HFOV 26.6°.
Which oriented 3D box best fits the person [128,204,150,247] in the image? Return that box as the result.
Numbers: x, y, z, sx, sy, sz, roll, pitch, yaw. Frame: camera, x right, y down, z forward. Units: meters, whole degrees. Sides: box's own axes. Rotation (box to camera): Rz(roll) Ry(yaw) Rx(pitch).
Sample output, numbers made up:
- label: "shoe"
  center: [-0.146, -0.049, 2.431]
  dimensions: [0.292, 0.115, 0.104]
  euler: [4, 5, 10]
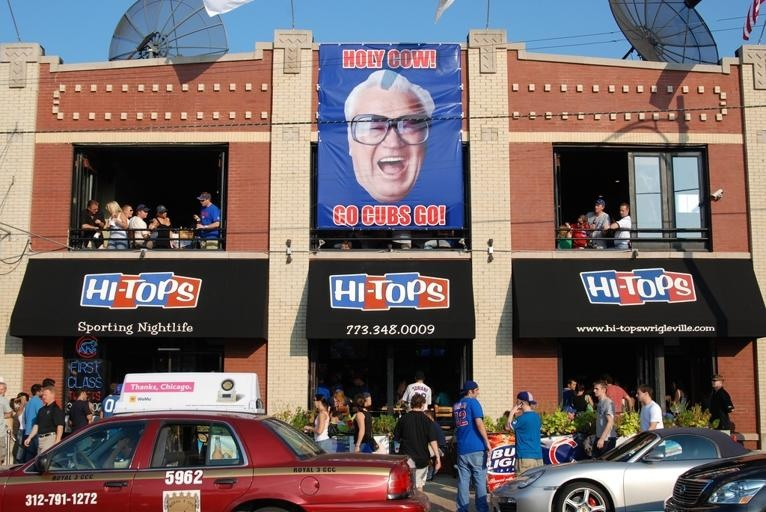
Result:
- label: "person"
  center: [-7.037, -0.825, 46.928]
  dimensions: [0.604, 1.481, 1.036]
  euler: [1, -14, -8]

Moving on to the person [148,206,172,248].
- label: "person"
  center: [-6.451, -0.770, 46.924]
  dimensions: [0.605, 1.447, 1.061]
  euler: [1, -14, -8]

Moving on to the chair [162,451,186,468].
- label: "chair"
  center: [-4.769, 4.692, 37.086]
  dimensions: [0.565, 0.469, 0.321]
  euler: [3, -17, -9]

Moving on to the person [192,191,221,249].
- label: "person"
  center: [-5.031, -0.965, 46.684]
  dimensions: [0.750, 1.762, 1.051]
  euler: [0, -14, -7]

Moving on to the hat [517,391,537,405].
- label: "hat"
  center: [3.649, 3.622, 40.638]
  dimensions: [0.558, 0.306, 0.337]
  euler: [8, 11, -22]

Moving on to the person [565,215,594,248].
- label: "person"
  center: [5.711, -0.654, 46.910]
  dimensions: [0.937, 1.286, 0.605]
  euler: [4, -16, -2]

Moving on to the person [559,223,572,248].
- label: "person"
  center: [5.234, -0.534, 46.638]
  dimensions: [0.421, 0.939, 0.851]
  euler: [-3, -14, 6]

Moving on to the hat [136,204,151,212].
- label: "hat"
  center: [-6.820, -1.373, 46.841]
  dimensions: [0.502, 0.176, 0.317]
  euler: [-1, 0, -22]

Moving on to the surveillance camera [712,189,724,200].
- label: "surveillance camera"
  center: [9.587, -1.762, 46.412]
  dimensions: [0.369, 0.332, 0.319]
  euler: [-2, -14, 4]

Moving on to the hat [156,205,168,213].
- label: "hat"
  center: [-6.631, -1.395, 48.518]
  dimensions: [0.297, 0.218, 0.470]
  euler: [-20, 1, -19]

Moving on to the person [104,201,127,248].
- label: "person"
  center: [-7.647, -0.847, 46.586]
  dimensions: [0.647, 1.518, 0.597]
  euler: [1, -14, -10]

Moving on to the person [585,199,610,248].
- label: "person"
  center: [6.225, -0.862, 46.712]
  dimensions: [0.611, 1.523, 0.811]
  euler: [-3, -14, 7]

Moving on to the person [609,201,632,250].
- label: "person"
  center: [6.821, -0.818, 46.525]
  dimensions: [0.636, 1.426, 0.741]
  euler: [-3, -14, 8]

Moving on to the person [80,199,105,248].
- label: "person"
  center: [-8.369, -0.887, 46.678]
  dimensions: [0.701, 1.472, 0.978]
  euler: [1, -14, -10]

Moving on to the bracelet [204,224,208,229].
- label: "bracelet"
  center: [-5.059, -0.817, 46.254]
  dimensions: [0.127, 0.126, 0.156]
  euler: [0, -14, -7]

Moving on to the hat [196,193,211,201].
- label: "hat"
  center: [-5.156, -1.678, 46.567]
  dimensions: [0.376, 0.189, 0.250]
  euler: [9, 4, -1]
